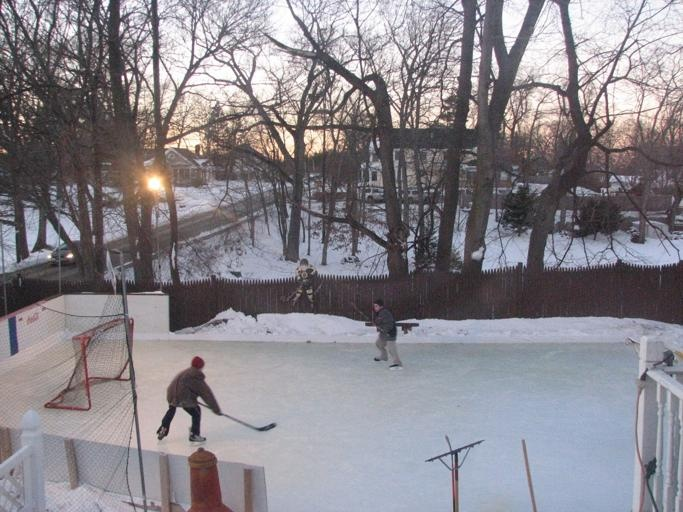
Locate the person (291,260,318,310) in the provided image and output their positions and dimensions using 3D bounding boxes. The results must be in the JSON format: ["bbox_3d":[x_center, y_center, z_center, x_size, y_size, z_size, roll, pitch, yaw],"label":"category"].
[{"bbox_3d":[-1.373,1.082,29.340,0.953,1.911,0.672,-1,8,-5],"label":"person"}]
